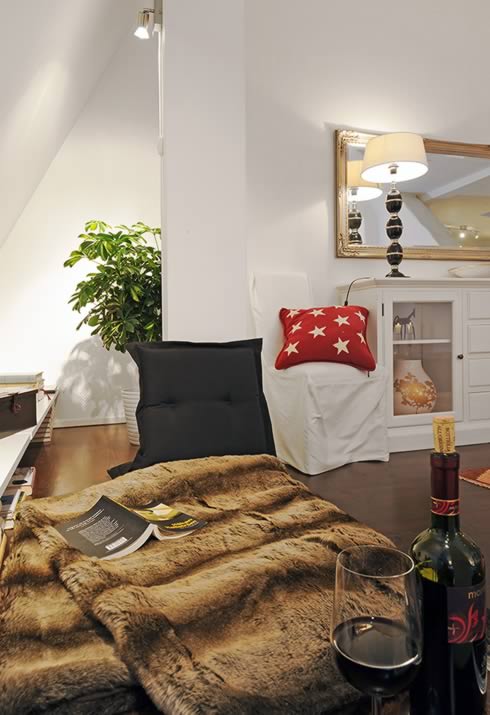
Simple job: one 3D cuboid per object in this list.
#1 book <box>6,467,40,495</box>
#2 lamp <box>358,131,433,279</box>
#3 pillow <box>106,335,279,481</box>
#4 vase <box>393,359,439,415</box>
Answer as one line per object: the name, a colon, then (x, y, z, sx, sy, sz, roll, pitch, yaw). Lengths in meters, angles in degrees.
book: (-0.683, 0.377, 1.773, 0.117, 0.031, 0.119, 1, 4, -21)
lamp: (0.729, -0.728, 2.871, 0.315, 0.670, 0.615, 3, 7, 11)
pillow: (-0.084, 0.109, 1.474, 0.446, 0.393, 0.125, -2, -15, -20)
vase: (0.781, 0.127, 2.684, 0.253, 0.280, 0.236, 0, 1, 34)
